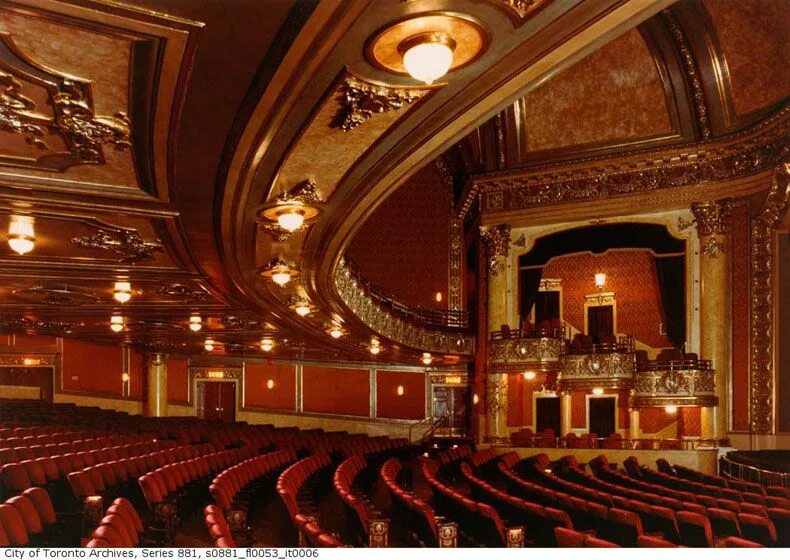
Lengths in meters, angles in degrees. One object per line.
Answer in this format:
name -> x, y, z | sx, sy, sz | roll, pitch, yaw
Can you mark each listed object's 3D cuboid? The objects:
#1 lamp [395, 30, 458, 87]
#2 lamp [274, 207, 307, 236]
lamp -> 0.240, -1.669, 4.772 | 0.416, 0.278, 0.385 | -1, -15, -4
lamp -> -1.169, -0.676, 7.351 | 0.272, 0.159, 0.256 | -5, -13, 13
